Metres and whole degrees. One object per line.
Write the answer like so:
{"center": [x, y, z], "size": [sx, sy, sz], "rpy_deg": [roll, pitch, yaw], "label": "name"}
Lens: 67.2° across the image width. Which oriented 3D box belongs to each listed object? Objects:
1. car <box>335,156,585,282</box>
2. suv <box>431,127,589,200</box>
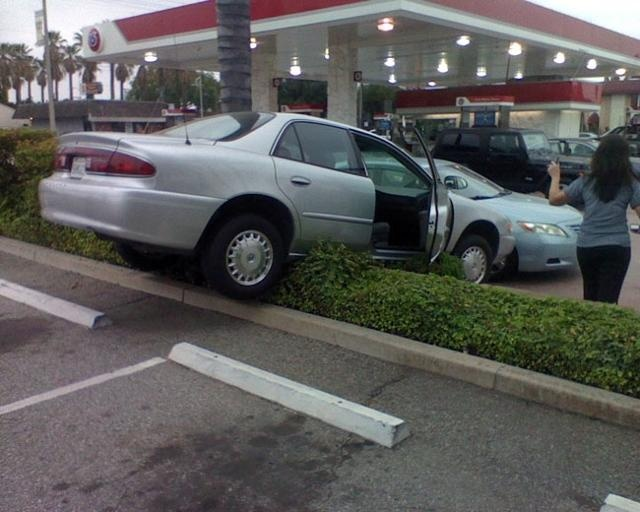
{"center": [2.520, -0.646, 7.393], "size": [3.291, 1.248, 1.579], "rpy_deg": [3, 13, 7], "label": "car"}
{"center": [6.224, -2.819, 15.437], "size": [4.018, 2.176, 2.534], "rpy_deg": [0, 18, 12], "label": "suv"}
